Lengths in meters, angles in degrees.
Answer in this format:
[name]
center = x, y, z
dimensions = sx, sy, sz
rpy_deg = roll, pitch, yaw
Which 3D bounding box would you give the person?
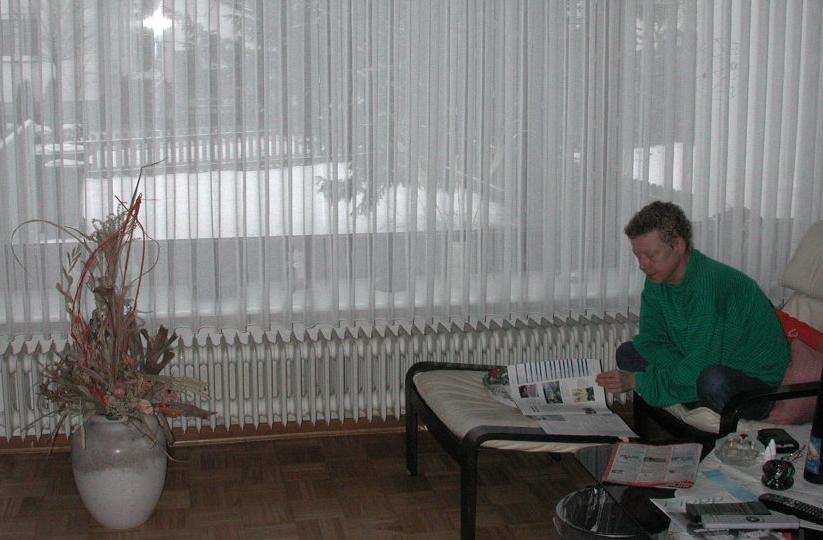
[person]
center = 1.349, 0.179, 3.381
dimensions = 0.814, 0.975, 0.890
rpy_deg = -6, 5, -29

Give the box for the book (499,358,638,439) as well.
[book]
center = 0.694, 0.621, 3.188
dimensions = 0.504, 0.113, 0.519
rpy_deg = 5, 31, -8
